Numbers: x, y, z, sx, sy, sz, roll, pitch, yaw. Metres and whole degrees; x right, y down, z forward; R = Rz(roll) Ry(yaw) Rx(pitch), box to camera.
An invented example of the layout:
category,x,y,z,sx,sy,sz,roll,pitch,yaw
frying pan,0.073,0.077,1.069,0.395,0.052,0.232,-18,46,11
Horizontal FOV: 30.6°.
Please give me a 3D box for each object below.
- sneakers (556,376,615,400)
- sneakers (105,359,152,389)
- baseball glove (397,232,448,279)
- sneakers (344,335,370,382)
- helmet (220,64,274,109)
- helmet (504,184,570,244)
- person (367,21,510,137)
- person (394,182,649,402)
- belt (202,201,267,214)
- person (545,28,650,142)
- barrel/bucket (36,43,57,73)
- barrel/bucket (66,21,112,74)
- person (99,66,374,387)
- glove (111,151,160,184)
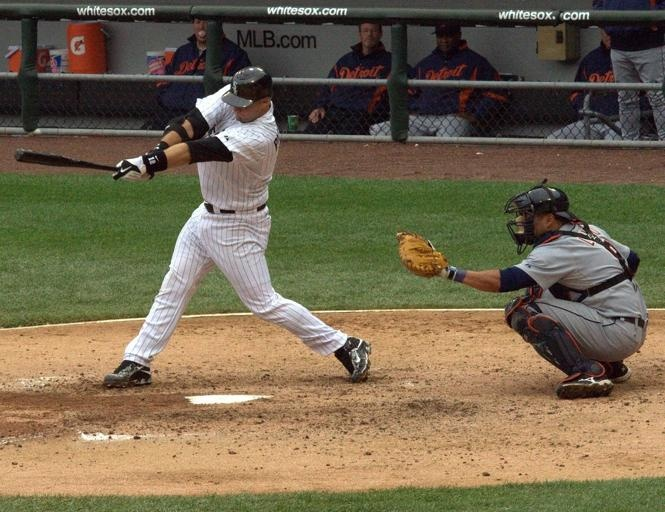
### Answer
category,x,y,z,sx,sy,sz,roll,pitch,yaw
sneakers,1.480,0.776,7.080,0.303,0.082,0.140,-6,-12,-3
sneakers,-1.233,0.728,7.419,0.332,0.122,0.136,1,5,-15
baseball glove,0.510,0.013,7.235,0.220,0.099,0.340,-33,47,-21
sneakers,0.165,0.638,7.585,0.189,0.273,0.115,-7,4,-10
helmet,-0.483,-0.985,7.117,0.328,0.140,0.226,-13,30,-29
helmet,1.241,-0.252,7.316,0.484,0.309,0.365,0,7,9
person,1.089,-1.618,11.133,1.100,1.076,1.301,2,4,10
person,1.311,0.145,7.616,1.835,1.124,1.144,1,7,21
belt,-0.582,-0.285,7.310,0.378,0.069,0.142,1,4,-5
person,2.434,-1.491,11.143,0.336,1.055,0.780,3,-10,-42
barrel/bucket,-3.193,-2.202,13.547,0.151,0.315,0.507,1,4,-11
barrel/bucket,-2.701,-2.348,13.744,0.522,0.584,0.408,-1,6,-32
person,-0.574,-0.140,7.238,1.504,1.942,0.707,1,5,-9
glove,-1.078,-0.495,6.850,0.263,0.140,0.087,-22,-38,3
